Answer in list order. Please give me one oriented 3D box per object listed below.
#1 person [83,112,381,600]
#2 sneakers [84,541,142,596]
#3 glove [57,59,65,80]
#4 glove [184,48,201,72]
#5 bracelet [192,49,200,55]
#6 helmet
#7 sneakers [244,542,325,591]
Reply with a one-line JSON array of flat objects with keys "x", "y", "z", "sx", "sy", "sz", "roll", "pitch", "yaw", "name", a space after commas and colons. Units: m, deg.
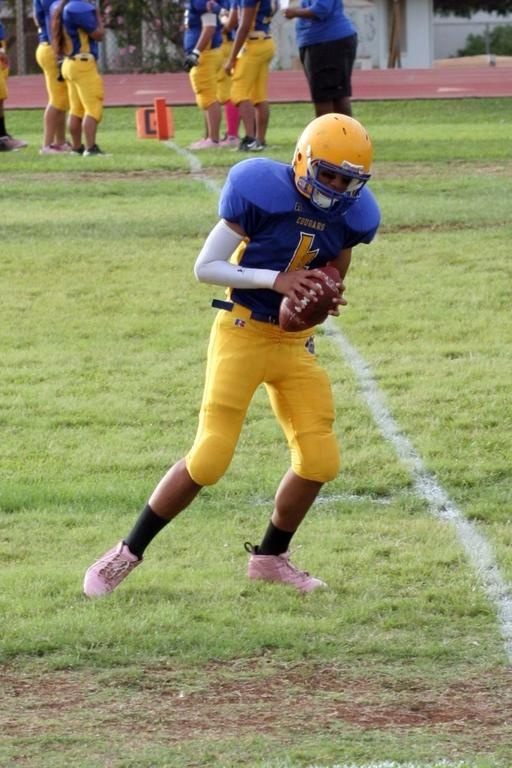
[{"x": -0.036, "y": -0.085, "z": 3.233, "sx": 0.717, "sy": 1.357, "sz": 0.344, "roll": 3, "pitch": 9, "yaw": 1, "name": "person"}, {"x": -0.416, "y": 0.524, "z": 3.288, "sx": 0.104, "sy": 0.189, "sz": 0.073, "roll": 48, "pitch": 0, "yaw": -20, "name": "sneakers"}, {"x": -1.794, "y": -2.863, "z": 10.536, "sx": 0.063, "sy": 0.142, "sz": 0.116, "roll": 0, "pitch": -9, "yaw": -10, "name": "glove"}, {"x": -0.539, "y": -2.847, "z": 10.116, "sx": 0.070, "sy": 0.179, "sz": 0.149, "roll": 14, "pitch": 9, "yaw": -44, "name": "glove"}, {"x": -0.522, "y": -2.904, "z": 10.089, "sx": 0.064, "sy": 0.041, "sz": 0.060, "roll": 31, "pitch": -2, "yaw": -4, "name": "bracelet"}, {"x": 0.202, "y": -0.599, "z": 3.099, "sx": 0.207, "sy": 0.265, "sz": 0.207, "roll": 3, "pitch": 9, "yaw": 0, "name": "helmet"}, {"x": 0.075, "y": 0.528, "z": 3.347, "sx": 0.285, "sy": 0.108, "sz": 0.081, "roll": 9, "pitch": -1, "yaw": 7, "name": "sneakers"}]
